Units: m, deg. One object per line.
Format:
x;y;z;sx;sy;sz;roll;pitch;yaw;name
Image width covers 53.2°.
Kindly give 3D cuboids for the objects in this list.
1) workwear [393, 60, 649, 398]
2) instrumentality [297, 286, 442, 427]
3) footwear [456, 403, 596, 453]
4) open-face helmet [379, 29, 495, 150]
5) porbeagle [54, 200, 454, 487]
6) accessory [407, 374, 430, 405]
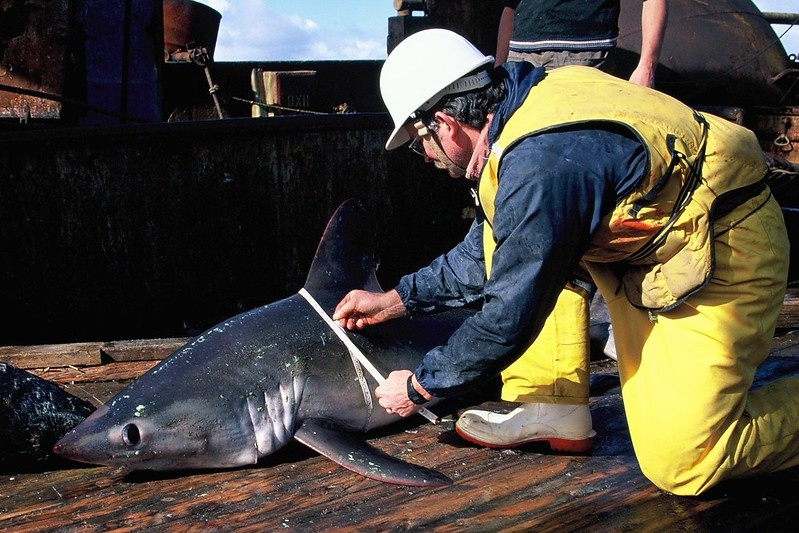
0.475;-0.156;3.720;1.032;1.528;0.747;15;22;43;workwear
-0.192;0.476;4.191;0.097;0.947;0.037;-41;4;-17;instrumentality
0.653;0.817;4.234;0.656;0.291;0.273;5;-5;10;footwear
0.133;-0.886;3.925;0.572;0.361;0.435;-36;-5;26;open-face helmet
-0.745;0.321;4.333;1.915;0.871;1.152;-6;4;-32;porbeagle
0.089;0.596;3.861;0.050;0.124;0.122;-31;-11;-16;accessory
